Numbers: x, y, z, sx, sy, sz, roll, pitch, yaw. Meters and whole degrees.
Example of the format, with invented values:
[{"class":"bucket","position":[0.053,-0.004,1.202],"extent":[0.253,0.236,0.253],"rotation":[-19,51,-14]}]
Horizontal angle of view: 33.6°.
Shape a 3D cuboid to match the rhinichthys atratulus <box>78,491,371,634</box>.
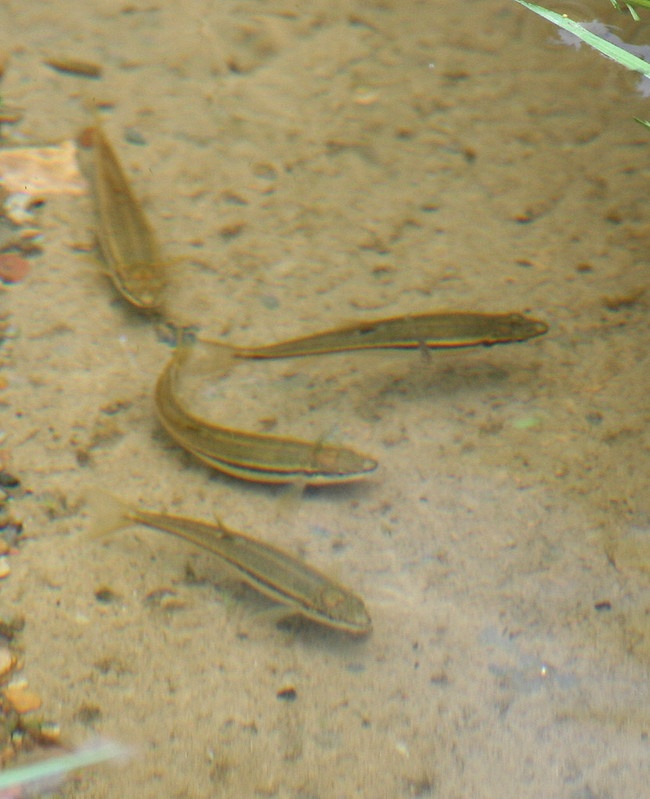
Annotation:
[{"class":"rhinichthys atratulus","position":[-0.283,0.474,2.960],"extent":[0.645,0.145,0.128],"rotation":[16,41,5]}]
